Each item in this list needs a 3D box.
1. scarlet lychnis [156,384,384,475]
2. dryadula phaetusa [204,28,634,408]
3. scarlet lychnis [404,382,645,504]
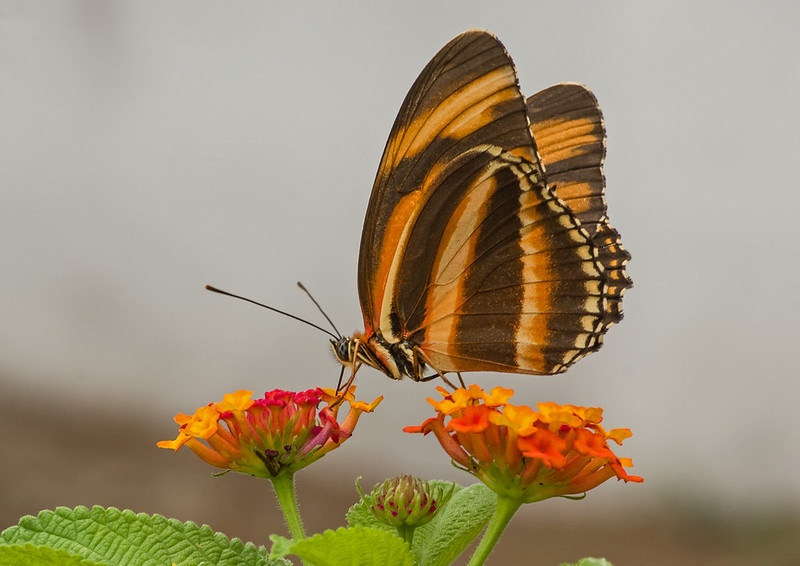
[{"bbox_3d":[-0.661,0.726,6.142,1.001,0.532,0.332,5,-39,1],"label":"scarlet lychnis"},{"bbox_3d":[0.266,-0.220,7.415,2.150,2.314,1.716,-1,-3,8],"label":"dryadula phaetusa"},{"bbox_3d":[0.619,0.788,6.039,1.068,0.481,0.393,5,-40,2],"label":"scarlet lychnis"}]
